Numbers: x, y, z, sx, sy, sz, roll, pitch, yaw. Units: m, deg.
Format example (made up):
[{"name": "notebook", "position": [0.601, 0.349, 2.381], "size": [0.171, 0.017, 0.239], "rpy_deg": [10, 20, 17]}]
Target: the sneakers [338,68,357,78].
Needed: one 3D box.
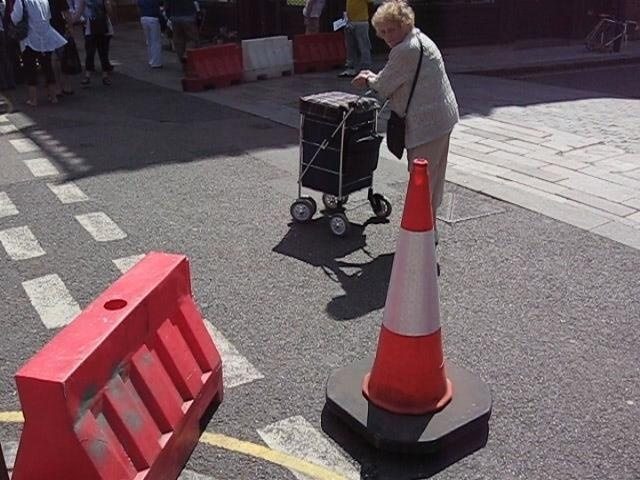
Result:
[{"name": "sneakers", "position": [0.698, -4.170, 14.543], "size": [0.462, 0.225, 0.259], "rpy_deg": [-3, 39, -4]}]

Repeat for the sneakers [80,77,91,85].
[{"name": "sneakers", "position": [-5.656, -3.829, 13.805], "size": [0.156, 0.175, 0.377], "rpy_deg": [-1, 18, -10]}]

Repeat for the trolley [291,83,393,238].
[{"name": "trolley", "position": [0.260, -0.909, 6.432], "size": [1.081, 1.430, 1.223], "rpy_deg": [1, 22, -2]}]

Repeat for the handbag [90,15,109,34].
[{"name": "handbag", "position": [-4.987, -4.830, 13.020], "size": [0.447, 0.480, 0.297], "rpy_deg": [-7, 38, -18]}]

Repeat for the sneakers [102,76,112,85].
[{"name": "sneakers", "position": [-5.161, -3.860, 13.840], "size": [0.152, 0.223, 0.475], "rpy_deg": [-16, 25, -31]}]
